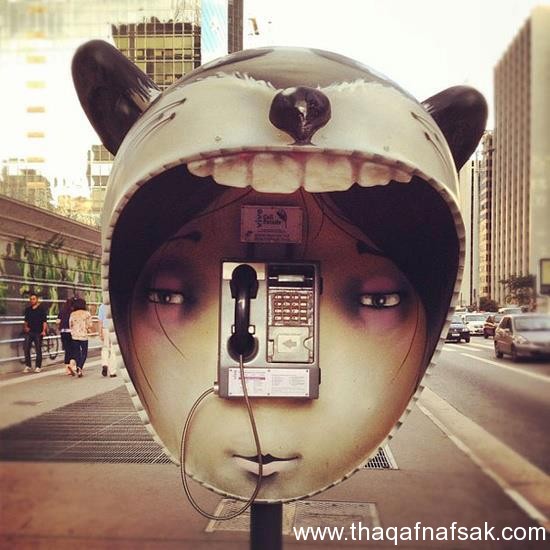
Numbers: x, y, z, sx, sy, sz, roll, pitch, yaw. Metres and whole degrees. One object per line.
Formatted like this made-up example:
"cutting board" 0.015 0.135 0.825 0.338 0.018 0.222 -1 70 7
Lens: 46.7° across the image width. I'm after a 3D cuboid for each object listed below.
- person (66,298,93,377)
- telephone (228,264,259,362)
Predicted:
"person" -3.227 0.990 10.492 0.391 1.725 0.412 0 5 -13
"telephone" -0.152 0.134 3.040 0.094 0.407 0.145 4 27 1
